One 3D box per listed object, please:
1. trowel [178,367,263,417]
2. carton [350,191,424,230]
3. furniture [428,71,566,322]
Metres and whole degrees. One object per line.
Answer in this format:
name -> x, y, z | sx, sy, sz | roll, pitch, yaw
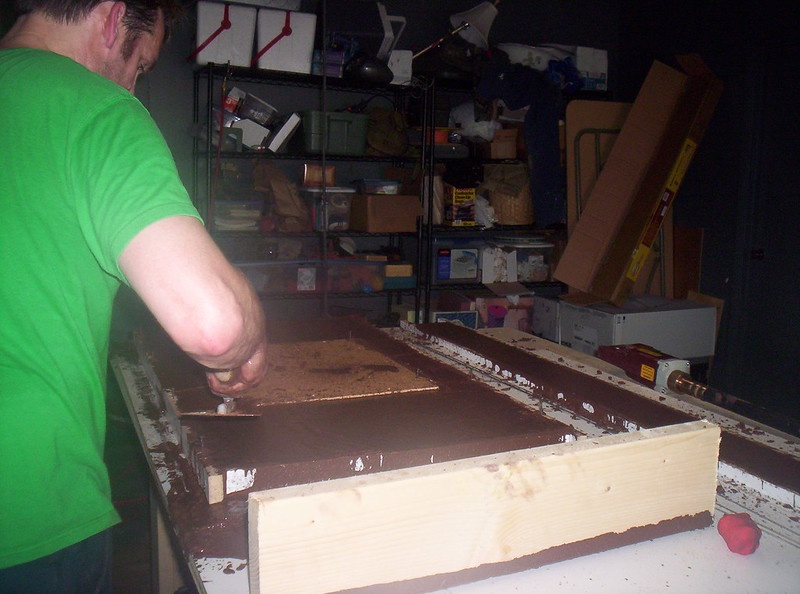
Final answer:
trowel -> -0.365, 0.198, 1.356 | 0.138, 0.108, 0.055 | -7, -1, -28
carton -> -0.080, -0.520, 4.021 | 0.390, 0.225, 0.299 | -2, 13, -18
furniture -> 0.636, -0.976, 5.013 | 0.899, 1.708, 1.028 | 3, 3, 0
